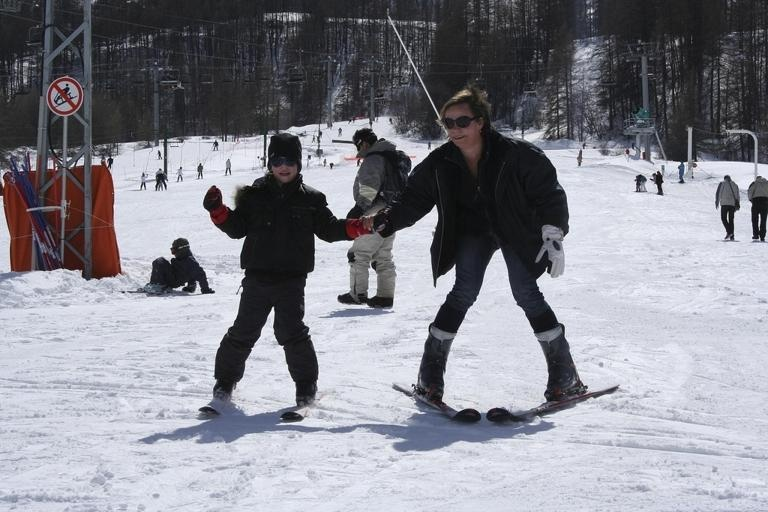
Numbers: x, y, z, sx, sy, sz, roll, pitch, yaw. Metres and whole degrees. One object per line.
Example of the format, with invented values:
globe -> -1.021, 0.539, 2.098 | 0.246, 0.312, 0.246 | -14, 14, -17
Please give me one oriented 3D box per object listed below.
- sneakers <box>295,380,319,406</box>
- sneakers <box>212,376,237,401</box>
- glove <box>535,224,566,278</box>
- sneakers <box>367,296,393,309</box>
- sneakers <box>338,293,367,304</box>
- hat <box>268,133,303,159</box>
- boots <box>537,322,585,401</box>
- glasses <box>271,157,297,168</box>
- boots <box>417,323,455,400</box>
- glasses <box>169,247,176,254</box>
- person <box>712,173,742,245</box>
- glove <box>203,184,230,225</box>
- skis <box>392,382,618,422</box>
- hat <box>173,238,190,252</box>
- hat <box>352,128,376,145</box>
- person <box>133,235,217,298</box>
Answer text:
sneakers -> -0.782, 1.378, 10.132 | 0.116, 0.138, 0.330 | 1, 7, 7
sneakers -> -1.597, 1.322, 10.053 | 0.272, 0.237, 0.151 | 3, -11, 15
glove -> 1.627, -0.026, 9.914 | 0.274, 0.568, 0.355 | 2, 15, 9
sneakers -> -0.041, 0.633, 13.975 | 0.395, 0.159, 0.133 | 5, 6, 14
sneakers -> -0.454, 0.608, 14.306 | 0.436, 0.179, 0.156 | 7, 8, 11
hat -> -1.007, -1.119, 10.242 | 0.288, 0.217, 0.297 | 4, 17, 13
boots -> 1.743, 1.126, 10.137 | 0.404, 0.728, 0.773 | -18, 0, 21
glasses -> -1.029, -0.952, 10.264 | 0.137, 0.126, 0.041 | -1, 46, -4
boots -> 0.467, 1.134, 10.436 | 0.326, 0.692, 0.744 | 8, -5, -16
glasses -> -3.619, -0.100, 17.299 | 0.105, 0.127, 0.118 | 1, 37, 3
person -> 7.488, -1.051, 22.056 | 0.454, 1.229, 1.385 | 5, 16, 18
glove -> -1.672, -0.531, 10.079 | 0.174, 0.383, 0.247 | -26, -4, -33
skis -> 0.983, 1.441, 9.833 | 2.198, 0.282, 0.255 | 0, 1, 32
hat -> -3.284, -0.198, 16.337 | 0.262, 0.204, 0.190 | -10, 13, -4
hat -> -0.294, -1.562, 13.178 | 0.286, 0.199, 0.206 | 9, 12, 26
person -> -3.344, 0.149, 16.356 | 1.090, 0.662, 0.865 | 5, 2, 5
